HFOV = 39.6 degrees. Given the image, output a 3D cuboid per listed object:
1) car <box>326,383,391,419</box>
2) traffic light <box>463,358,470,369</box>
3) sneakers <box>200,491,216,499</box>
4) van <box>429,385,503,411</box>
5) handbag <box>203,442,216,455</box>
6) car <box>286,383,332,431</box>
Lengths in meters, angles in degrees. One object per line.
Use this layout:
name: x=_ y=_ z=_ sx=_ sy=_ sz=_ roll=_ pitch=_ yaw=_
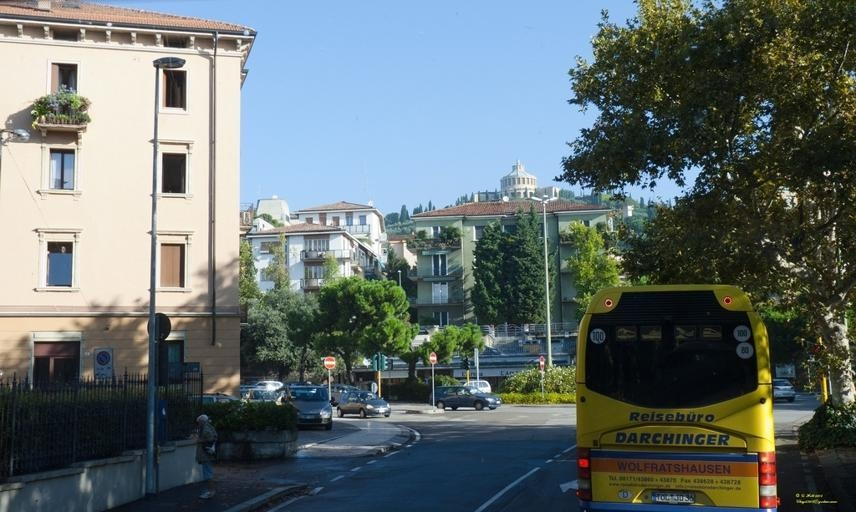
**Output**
car: x=-3.688 y=8.159 z=65.249 sx=1.293 sy=1.359 sz=3.048 roll=2 pitch=-6 yaw=-41
traffic light: x=2.676 y=7.755 z=85.484 sx=0.542 sy=0.702 sz=0.271 roll=0 pitch=3 yaw=44
sneakers: x=-7.388 y=7.896 z=39.177 sx=0.534 sy=0.215 sz=0.191 roll=0 pitch=-1 yaw=18
van: x=2.329 y=8.313 z=68.951 sx=3.547 sy=1.119 sz=1.618 roll=-9 pitch=-10 yaw=36
handbag: x=-7.362 y=6.462 z=39.646 sx=0.409 sy=0.357 sz=0.308 roll=-2 pitch=-6 yaw=20
car: x=-5.741 y=6.916 z=56.498 sx=2.194 sy=1.838 sz=4.053 roll=1 pitch=2 yaw=-10
